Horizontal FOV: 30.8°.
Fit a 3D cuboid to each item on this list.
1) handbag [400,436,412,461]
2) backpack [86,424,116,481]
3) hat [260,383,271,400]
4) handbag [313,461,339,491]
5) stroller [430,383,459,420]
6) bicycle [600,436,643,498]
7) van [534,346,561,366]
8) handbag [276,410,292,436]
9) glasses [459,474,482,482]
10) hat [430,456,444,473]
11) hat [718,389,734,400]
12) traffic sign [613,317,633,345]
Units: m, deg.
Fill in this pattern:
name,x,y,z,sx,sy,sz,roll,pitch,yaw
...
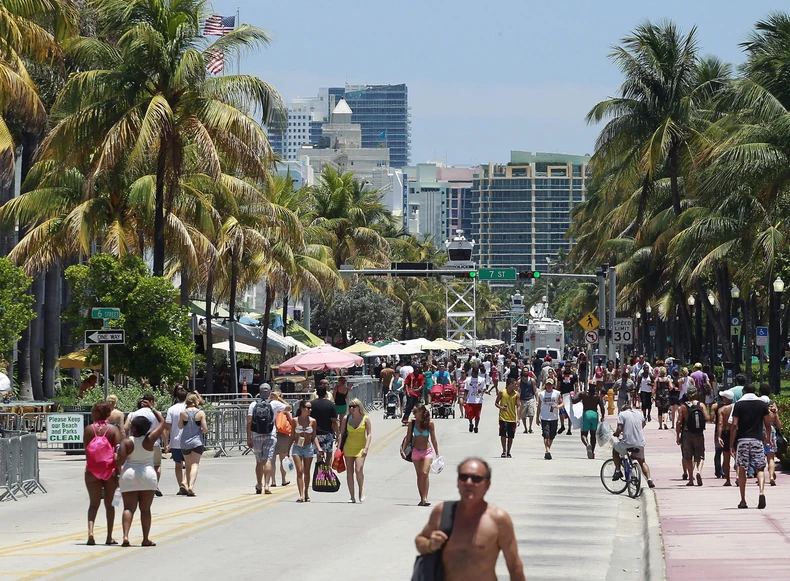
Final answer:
name,x,y,z,sx,sy,sz,roll,pitch,yaw
handbag,0.261,3.438,31.424,0.268,0.544,0.495,0,2,0
backpack,-5.607,3.114,27.488,0.499,1.206,0.390,1,2,-6
hat,-3.039,2.384,33.730,0.208,0.279,0.436,3,-29,-3
handbag,-1.521,4.098,31.834,0.523,0.868,0.263,-1,5,13
stroller,1.868,4.103,54.391,0.767,1.522,1.313,0,-9,2
bicycle,5.289,4.197,33.521,0.632,1.043,1.426,-2,5,-18
van,9.908,4.031,92.290,1.561,1.811,2.865,1,6,5
handbag,-2.600,3.109,33.818,0.360,0.620,0.189,1,-2,-22
glasses,1.086,2.643,20.353,0.340,0.140,0.068,-3,-4,3
hat,0.918,3.842,30.992,0.280,0.365,0.442,-1,4,6
hat,7.831,2.529,33.931,0.298,0.139,0.240,21,30,17
traffic sign,8.862,1.594,55.818,0.929,1.730,0.148,0,4,-1
